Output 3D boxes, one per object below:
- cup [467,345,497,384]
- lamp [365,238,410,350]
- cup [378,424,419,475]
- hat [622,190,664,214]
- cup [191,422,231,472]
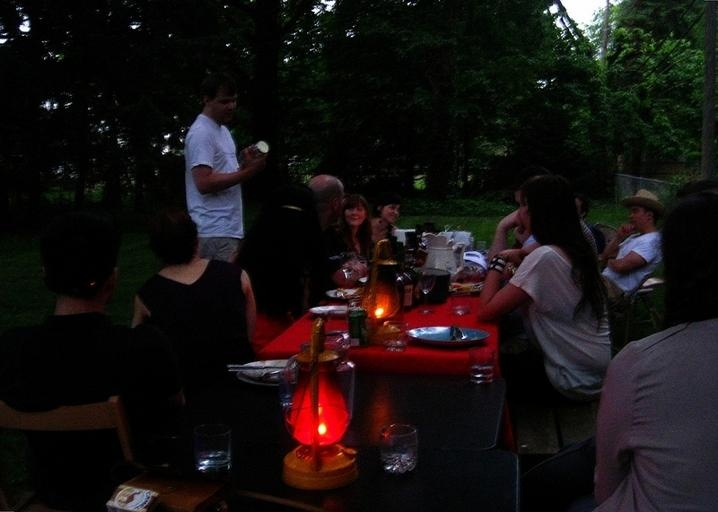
[{"bbox_3d":[0.459,0.426,2.061,0.119,0.131,0.119,0,-2,0],"label":"cup"},{"bbox_3d":[0.117,0.176,2.583,0.208,0.527,0.294,3,2,24],"label":"lamp"},{"bbox_3d":[0.103,0.503,1.392,0.110,0.112,0.114,0,-6,0],"label":"cup"},{"bbox_3d":[3.057,-0.618,5.587,0.353,0.134,0.301,25,-18,-14],"label":"hat"},{"bbox_3d":[-0.403,0.512,1.430,0.105,0.112,0.106,0,1,0],"label":"cup"}]
